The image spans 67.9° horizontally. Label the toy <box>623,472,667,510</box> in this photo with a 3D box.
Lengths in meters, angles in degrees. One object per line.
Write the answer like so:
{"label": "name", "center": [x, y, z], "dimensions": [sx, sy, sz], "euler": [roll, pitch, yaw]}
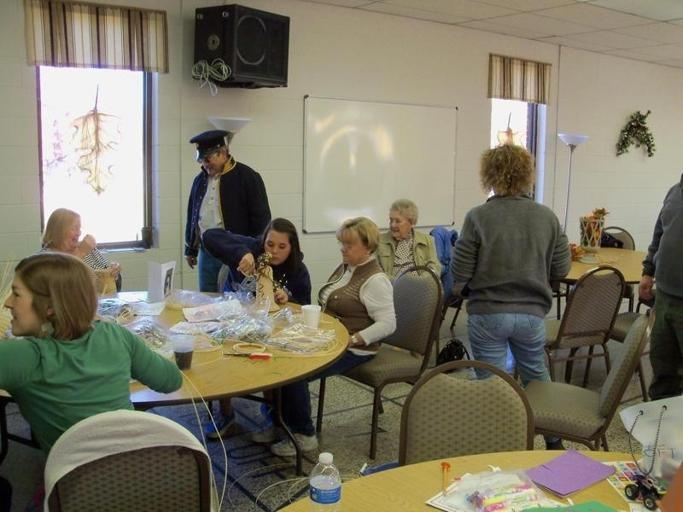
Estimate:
{"label": "toy", "center": [0.830, 0.646, 1.384], "dimensions": [0.060, 0.060, 0.110], "euler": [2, 4, -26]}

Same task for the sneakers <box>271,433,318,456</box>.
{"label": "sneakers", "center": [-0.273, 1.097, 2.977], "dimensions": [0.310, 0.140, 0.135], "euler": [1, 0, -17]}

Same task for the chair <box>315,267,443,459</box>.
{"label": "chair", "center": [0.257, 0.612, 3.169], "dimensions": [0.618, 1.029, 0.544], "euler": [-3, 10, -33]}

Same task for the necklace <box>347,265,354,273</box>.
{"label": "necklace", "center": [0.054, 0.079, 3.108], "dimensions": [0.027, 0.032, 0.035], "euler": [-5, -10, -45]}

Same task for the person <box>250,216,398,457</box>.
{"label": "person", "center": [-0.136, 0.459, 3.119], "dimensions": [0.763, 1.431, 0.649], "euler": [4, 5, -25]}

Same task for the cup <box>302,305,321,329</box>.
{"label": "cup", "center": [-0.154, 0.326, 2.683], "dimensions": [0.096, 0.113, 0.116], "euler": [-1, -5, -2]}

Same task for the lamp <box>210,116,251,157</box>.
{"label": "lamp", "center": [-1.016, -1.073, 4.618], "dimensions": [0.319, 0.384, 0.329], "euler": [4, 9, 32]}

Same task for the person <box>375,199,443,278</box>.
{"label": "person", "center": [0.543, -0.104, 4.535], "dimensions": [0.676, 0.793, 0.438], "euler": [-3, 8, 8]}

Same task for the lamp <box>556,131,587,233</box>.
{"label": "lamp", "center": [3.136, -0.955, 7.003], "dimensions": [0.335, 1.423, 0.348], "euler": [-1, 24, 12]}

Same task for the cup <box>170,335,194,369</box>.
{"label": "cup", "center": [-0.663, 0.397, 2.149], "dimensions": [0.124, 0.143, 0.121], "euler": [-2, 0, 0]}

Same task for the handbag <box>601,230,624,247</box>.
{"label": "handbag", "center": [3.029, -0.180, 5.647], "dimensions": [0.212, 0.086, 0.212], "euler": [-2, 12, -16]}

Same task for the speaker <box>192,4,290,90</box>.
{"label": "speaker", "center": [-0.874, -1.866, 4.508], "dimensions": [0.835, 0.602, 0.343], "euler": [-3, 10, -22]}

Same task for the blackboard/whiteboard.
{"label": "blackboard/whiteboard", "center": [0.472, -1.027, 5.814], "dimensions": [2.041, 1.416, 0.073], "euler": [-5, 9, -26]}

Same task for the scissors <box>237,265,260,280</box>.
{"label": "scissors", "center": [-0.559, 0.083, 3.036], "dimensions": [0.108, 0.082, 0.041], "euler": [37, 26, 5]}

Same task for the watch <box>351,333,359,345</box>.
{"label": "watch", "center": [0.076, 0.471, 2.869], "dimensions": [0.037, 0.057, 0.058], "euler": [1, -19, -9]}
